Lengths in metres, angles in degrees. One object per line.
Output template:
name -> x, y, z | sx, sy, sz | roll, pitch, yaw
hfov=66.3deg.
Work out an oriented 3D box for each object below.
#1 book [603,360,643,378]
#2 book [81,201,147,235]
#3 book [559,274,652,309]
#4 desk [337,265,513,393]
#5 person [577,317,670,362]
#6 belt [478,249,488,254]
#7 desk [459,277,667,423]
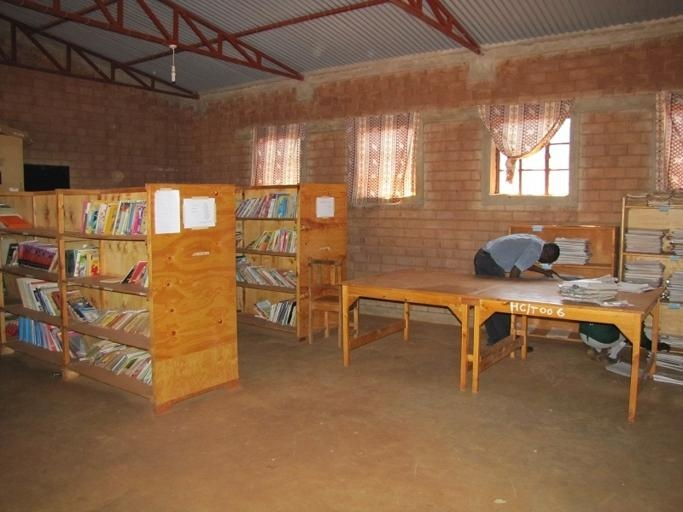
book -> 3.097, 1.232, 5.768 | 0.266, 0.084, 0.336 | -9, 13, -31
book -> -2.276, -0.385, 5.239 | 0.375, 0.359, 1.161 | -11, 15, -37
book -> 2.485, 0.307, 4.990 | 0.584, 0.169, 0.946 | 8, 14, 36
desk -> 1.114, 0.739, 6.098 | 1.717, 0.747, 1.598 | 2, 5, 31
person -> 3.228, 0.931, 6.193 | 0.819, 0.238, 0.719 | 3, 0, -43
belt -> 1.727, -0.055, 6.365 | 0.088, 0.058, 0.073 | 13, 3, 13
desk -> 2.437, 0.775, 5.347 | 1.795, 0.764, 1.664 | 1, 3, 34
